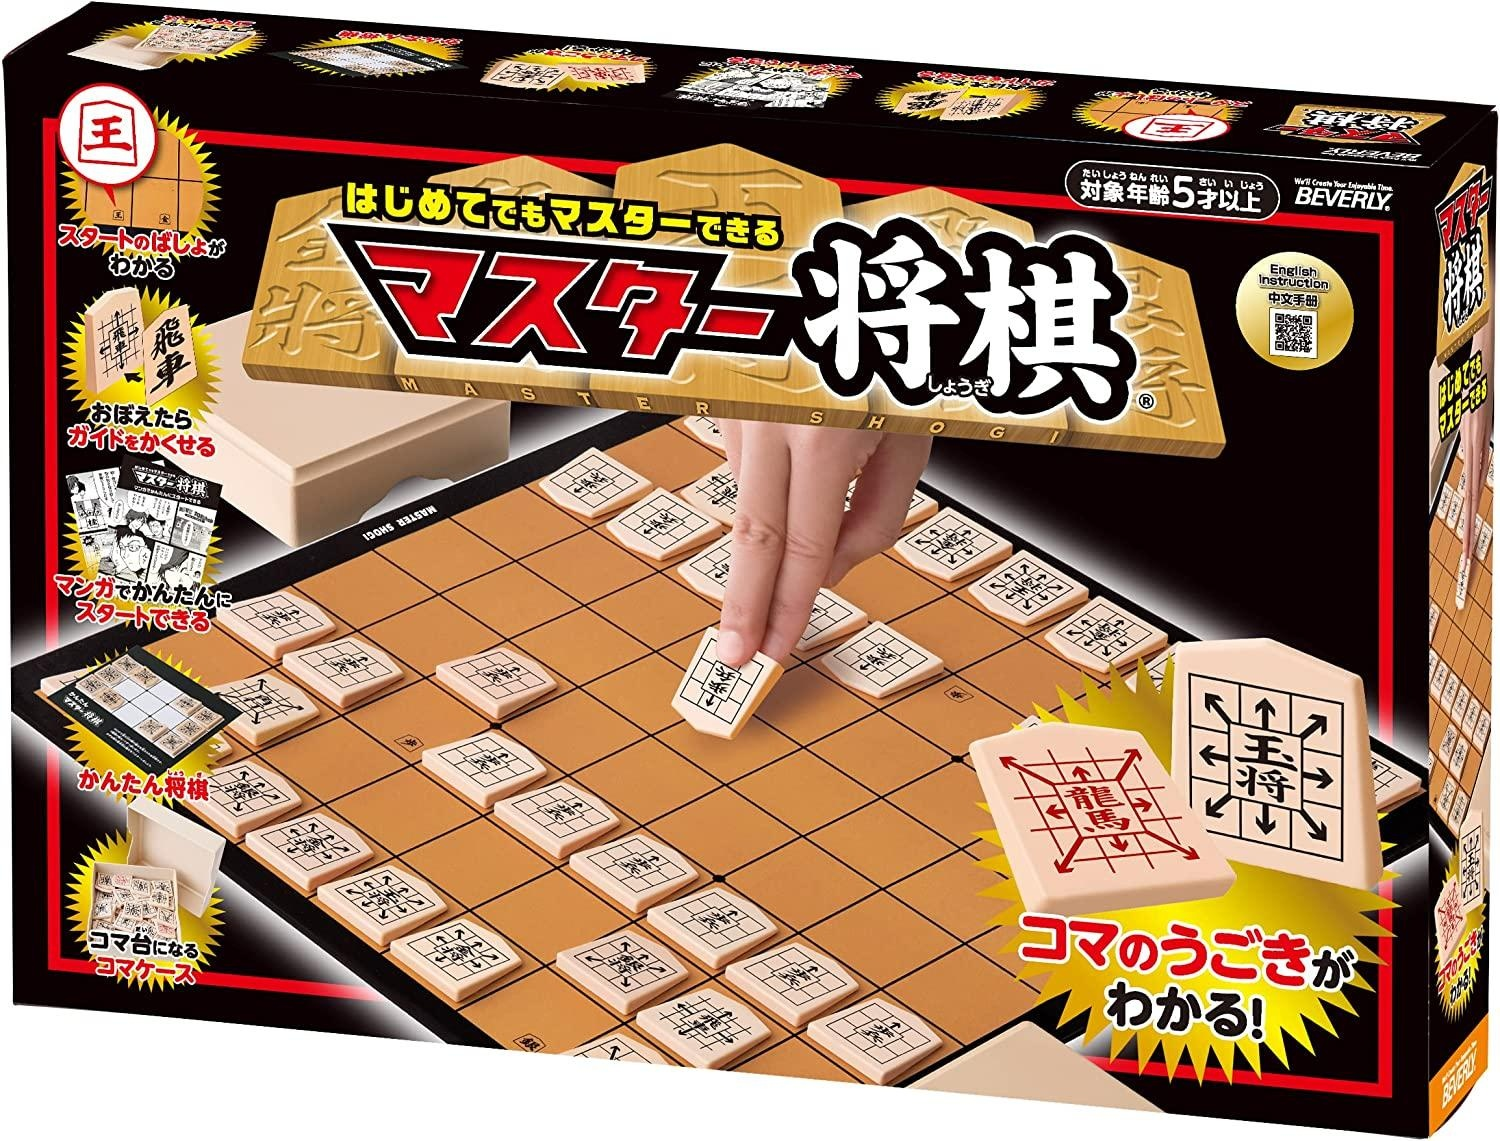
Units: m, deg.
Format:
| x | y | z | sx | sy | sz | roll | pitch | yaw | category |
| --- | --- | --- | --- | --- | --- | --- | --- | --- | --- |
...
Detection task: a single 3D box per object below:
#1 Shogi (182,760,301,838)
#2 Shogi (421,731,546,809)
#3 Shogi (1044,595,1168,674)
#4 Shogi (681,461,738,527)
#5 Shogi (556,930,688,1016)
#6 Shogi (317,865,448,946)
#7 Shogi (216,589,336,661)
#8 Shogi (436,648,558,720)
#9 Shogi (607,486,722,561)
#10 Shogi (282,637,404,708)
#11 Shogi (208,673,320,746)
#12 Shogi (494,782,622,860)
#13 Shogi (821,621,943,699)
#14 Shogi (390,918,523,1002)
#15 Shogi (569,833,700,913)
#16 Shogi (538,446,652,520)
| x | y | z | sx | sy | sz | roll | pitch | yaw | category |
| --- | --- | --- | --- | --- | --- | --- | --- | --- | --- |
| -1.009 | 0.468 | 2.505 | 0.188 | 0.026 | 0.174 | 19 | 34 | 34 | Shogi |
| -0.527 | 0.389 | 2.470 | 0.182 | 0.029 | 0.186 | -21 | 38 | -37 | Shogi |
| 0.653 | 0.126 | 2.307 | 0.179 | 0.025 | 0.178 | -23 | 30 | -25 | Shogi |
| -0.082 | -0.165 | 2.678 | 0.175 | 0.114 | 0.030 | 10 | 6 | 21 | Shogi |
| -0.228 | 0.747 | 2.317 | 0.195 | 0.035 | 0.187 | -24 | 40 | -38 | Shogi |
| -0.708 | 0.640 | 2.398 | 0.184 | 0.033 | 0.180 | -21 | 37 | -37 | Shogi |
| -0.980 | 0.110 | 2.583 | 0.186 | 0.035 | 0.182 | 30 | 37 | 23 | Shogi |
| -0.505 | 0.228 | 2.524 | 0.191 | 0.036 | 0.195 | -25 | 42 | -35 | Shogi |
| -0.189 | -0.090 | 2.668 | 0.200 | 0.038 | 0.184 | 32 | 52 | 32 | Shogi |
| -0.851 | 0.205 | 2.585 | 0.214 | 0.032 | 0.191 | 23 | 30 | -3 | Shogi |
| -0.978 | 0.282 | 2.532 | 0.191 | 0.037 | 0.182 | -28 | 56 | -33 | Shogi |
| -0.373 | 0.484 | 2.426 | 0.181 | 0.028 | 0.181 | -23 | 38 | -38 | Shogi |
| 0.246 | 0.191 | 2.492 | 0.187 | 0.028 | 0.197 | -29 | 42 | -28 | Shogi |
| -0.554 | 0.729 | 2.351 | 0.186 | 0.029 | 0.192 | 25 | 33 | 38 | Shogi |
| -0.210 | 0.572 | 2.378 | 0.183 | 0.030 | 0.185 | -22 | 38 | -36 | Shogi |
| -0.337 | -0.189 | 2.707 | 0.215 | 0.044 | 0.194 | 37 | 65 | 19 | Shogi |
